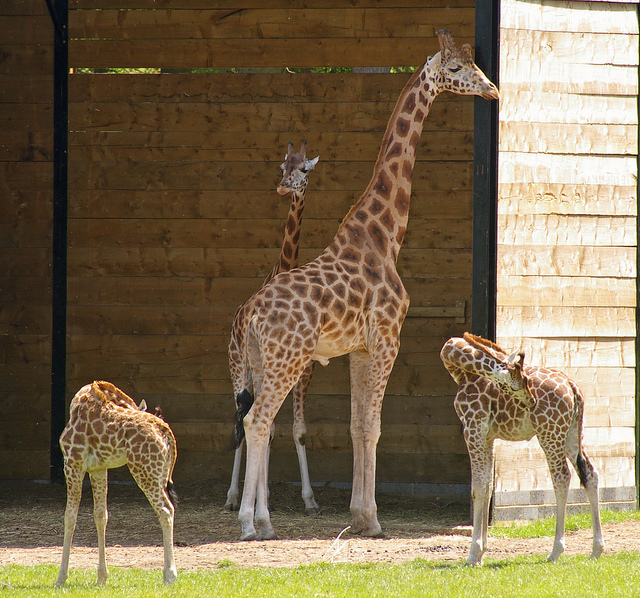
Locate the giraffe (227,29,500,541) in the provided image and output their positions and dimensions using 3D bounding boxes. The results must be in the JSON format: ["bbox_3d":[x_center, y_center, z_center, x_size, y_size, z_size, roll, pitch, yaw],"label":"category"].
[{"bbox_3d":[0.296,-0.166,14.830,2.147,4.113,0.859,-3,6,-13],"label":"giraffe"}]

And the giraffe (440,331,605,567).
[{"bbox_3d":[1.577,1.122,13.806,1.218,1.723,0.623,-1,6,4],"label":"giraffe"}]

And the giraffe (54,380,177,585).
[{"bbox_3d":[-1.559,1.341,13.375,0.931,1.437,0.596,-2,6,-6],"label":"giraffe"}]
